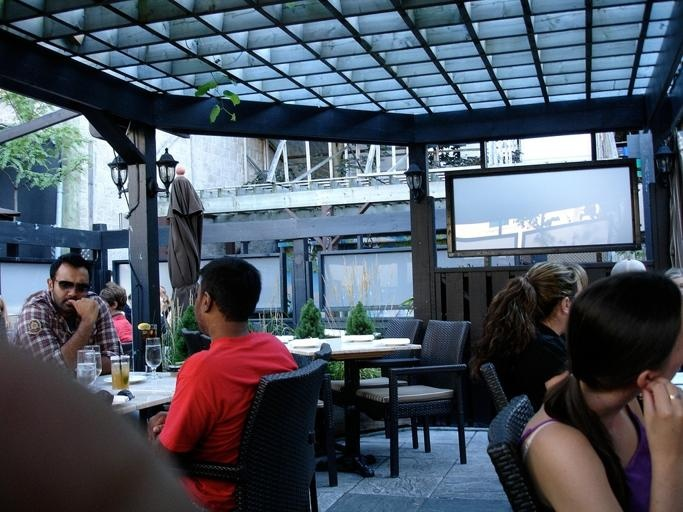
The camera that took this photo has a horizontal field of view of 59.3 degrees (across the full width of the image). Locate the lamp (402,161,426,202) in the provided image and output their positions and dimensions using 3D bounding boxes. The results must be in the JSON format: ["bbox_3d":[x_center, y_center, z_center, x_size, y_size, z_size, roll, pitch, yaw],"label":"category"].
[{"bbox_3d":[0.856,-0.887,7.067,0.201,0.453,0.259,-1,-3,24],"label":"lamp"}]

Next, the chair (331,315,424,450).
[{"bbox_3d":[0.323,1.001,5.377,0.892,1.229,0.838,6,-10,-31],"label":"chair"}]

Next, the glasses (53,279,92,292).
[{"bbox_3d":[-1.513,0.166,3.379,0.167,0.063,0.067,2,-4,-28],"label":"glasses"}]

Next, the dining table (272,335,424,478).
[{"bbox_3d":[0.066,1.068,4.911,1.064,1.151,1.127,-4,-10,22],"label":"dining table"}]

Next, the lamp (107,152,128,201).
[{"bbox_3d":[-2.368,-0.895,6.353,0.171,0.516,0.726,1,-3,-21],"label":"lamp"}]

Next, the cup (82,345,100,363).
[{"bbox_3d":[-1.211,0.467,2.900,0.082,0.086,0.087,0,-8,0],"label":"cup"}]

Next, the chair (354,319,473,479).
[{"bbox_3d":[0.570,1.087,4.950,0.915,1.098,1.182,1,-3,-14],"label":"chair"}]
